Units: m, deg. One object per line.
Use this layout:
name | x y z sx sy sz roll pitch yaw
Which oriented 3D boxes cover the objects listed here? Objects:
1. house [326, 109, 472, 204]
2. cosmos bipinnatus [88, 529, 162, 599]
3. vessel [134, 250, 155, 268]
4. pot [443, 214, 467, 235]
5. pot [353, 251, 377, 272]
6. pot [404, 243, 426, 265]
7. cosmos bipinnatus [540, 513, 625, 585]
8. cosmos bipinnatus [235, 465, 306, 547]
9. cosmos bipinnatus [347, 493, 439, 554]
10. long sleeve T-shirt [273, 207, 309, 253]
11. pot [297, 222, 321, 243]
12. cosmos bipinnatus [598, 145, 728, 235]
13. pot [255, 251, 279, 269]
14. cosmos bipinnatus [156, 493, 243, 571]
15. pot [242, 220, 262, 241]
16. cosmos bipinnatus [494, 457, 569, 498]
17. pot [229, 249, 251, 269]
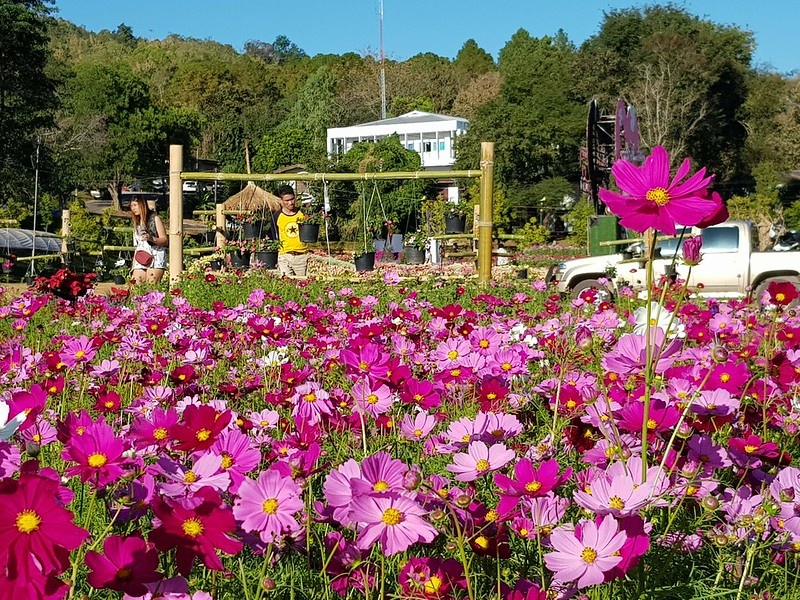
house | -0.681 -8.825 43.107 8.583 3.709 5.754 4 6 33
cosmos bipinnatus | -0.531 0.516 1.516 0.131 0.128 0.090 1 4 11
vessel | -2.749 -0.443 8.459 0.180 0.154 0.075 34 -3 1
pot | 0.959 -1.294 13.330 0.329 0.317 0.348 -2 5 0
pot | -0.487 -0.518 10.746 0.264 0.270 0.362 0 5 0
pot | 0.238 -0.794 13.565 0.287 0.264 0.325 -1 0 -18
cosmos bipinnatus | 0.364 0.482 1.544 0.152 0.131 0.146 2 5 19
cosmos bipinnatus | -0.272 0.431 1.629 0.139 0.157 0.091 -1 4 -13
cosmos bipinnatus | -0.014 0.437 1.563 0.144 0.038 0.149 1 22 20
long sleeve T-shirt | -1.288 -0.796 9.306 0.306 0.499 0.374 0 4 -9
pot | -1.420 -1.088 12.092 0.332 0.312 0.374 -2 -5 4
cosmos bipinnatus | 0.601 -0.219 1.775 0.248 0.081 0.279 13 -20 13
pot | -1.828 -0.567 10.841 0.271 0.244 0.304 -1 7 10
cosmos bipinnatus | -0.417 0.458 1.584 0.170 0.148 0.211 -1 5 -20
pot | -2.454 -1.141 13.036 0.374 0.345 0.411 -3 -7 0
cosmos bipinnatus | 0.288 0.390 1.718 0.165 0.101 0.108 1 4 11
pot | -2.186 -0.552 10.708 0.264 0.243 0.293 1 9 15
